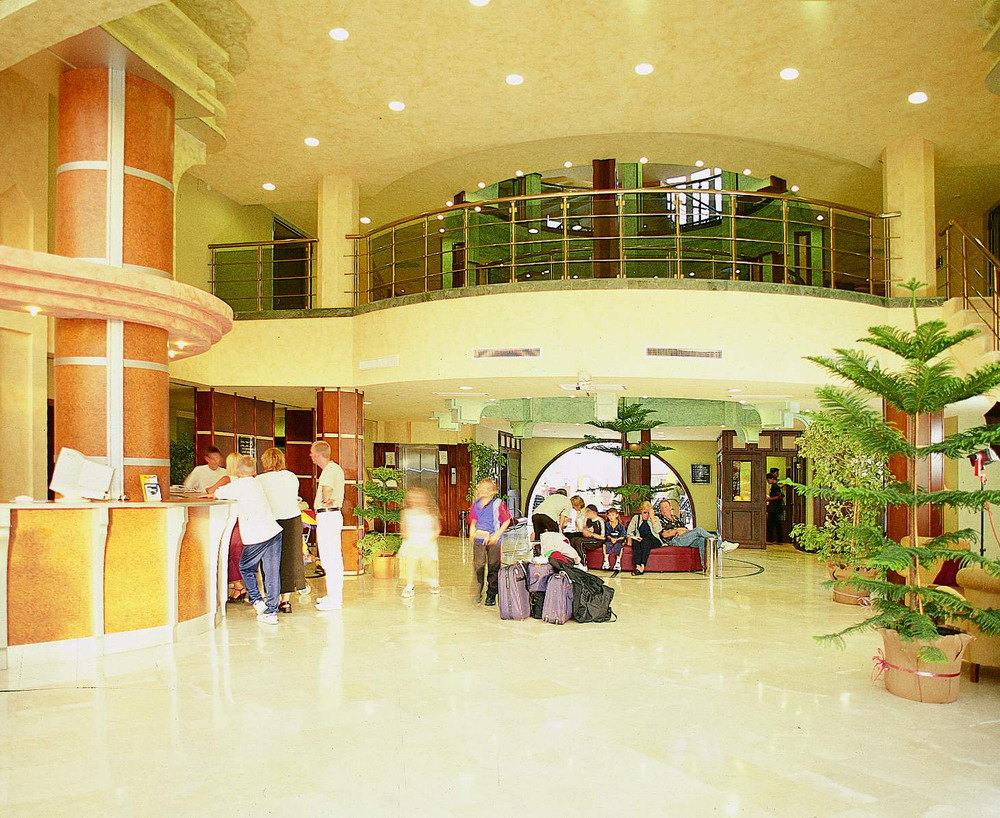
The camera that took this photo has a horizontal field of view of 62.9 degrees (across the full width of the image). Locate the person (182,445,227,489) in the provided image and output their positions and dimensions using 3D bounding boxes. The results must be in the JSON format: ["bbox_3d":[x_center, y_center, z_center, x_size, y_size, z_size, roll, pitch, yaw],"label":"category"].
[{"bbox_3d":[-4.168,0.843,11.505,0.594,0.753,0.426,0,12,-39],"label":"person"}]

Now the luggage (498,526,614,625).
[{"bbox_3d":[0.778,1.929,9.477,1.027,0.683,1.459,-1,-4,23],"label":"luggage"}]

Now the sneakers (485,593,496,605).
[{"bbox_3d":[-0.117,2.285,9.758,0.151,0.150,0.085,1,-9,4],"label":"sneakers"}]

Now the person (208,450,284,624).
[{"bbox_3d":[-2.685,1.383,8.758,0.656,1.727,1.093,2,-2,-15],"label":"person"}]

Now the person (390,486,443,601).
[{"bbox_3d":[-1.058,1.729,10.551,0.496,1.330,0.571,1,-2,-7],"label":"person"}]

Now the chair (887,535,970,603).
[{"bbox_3d":[3.573,1.345,6.771,0.671,0.705,0.664,-5,-20,25],"label":"chair"}]

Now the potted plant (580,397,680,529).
[{"bbox_3d":[2.336,0.990,15.038,2.209,2.063,2.106,4,-5,-39],"label":"potted plant"}]

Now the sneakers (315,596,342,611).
[{"bbox_3d":[-1.979,2.233,9.361,0.280,0.141,0.283,1,-2,-8],"label":"sneakers"}]
